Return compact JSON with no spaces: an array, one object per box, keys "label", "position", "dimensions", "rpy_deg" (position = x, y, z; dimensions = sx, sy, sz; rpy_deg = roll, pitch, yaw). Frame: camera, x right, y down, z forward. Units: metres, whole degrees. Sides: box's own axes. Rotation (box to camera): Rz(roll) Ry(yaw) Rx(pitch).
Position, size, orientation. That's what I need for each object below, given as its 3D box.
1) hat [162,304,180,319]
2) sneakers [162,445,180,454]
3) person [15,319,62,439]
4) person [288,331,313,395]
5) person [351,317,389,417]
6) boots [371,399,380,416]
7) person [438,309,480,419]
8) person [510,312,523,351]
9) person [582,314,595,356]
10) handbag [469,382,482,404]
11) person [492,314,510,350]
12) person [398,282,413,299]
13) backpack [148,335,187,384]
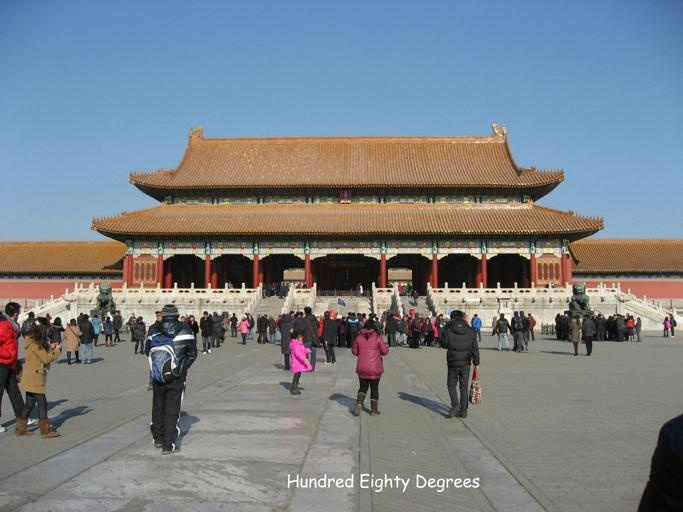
[{"label":"hat","position":[-2.979,0.967,12.900],"dimensions":[0.268,0.266,0.261],"rpy_deg":[-3,2,-23]},{"label":"sneakers","position":[-2.843,3.221,12.340],"dimensions":[0.254,0.116,0.113],"rpy_deg":[0,0,-15]},{"label":"person","position":[-5.594,2.232,13.739],"dimensions":[0.882,2.198,0.597],"rpy_deg":[-5,-8,24]},{"label":"person","position":[-0.945,2.444,17.041],"dimensions":[0.559,1.455,0.650],"rpy_deg":[5,-4,-25]},{"label":"person","position":[0.590,2.269,15.414],"dimensions":[0.727,1.959,1.373],"rpy_deg":[-2,-7,3]},{"label":"boots","position":[0.670,3.037,14.918],"dimensions":[0.178,0.309,0.304],"rpy_deg":[-1,-8,-6]},{"label":"person","position":[2.416,2.183,15.087],"dimensions":[0.736,2.174,0.522],"rpy_deg":[-1,-7,-2]},{"label":"person","position":[6.460,2.789,27.241],"dimensions":[0.367,1.466,0.888],"rpy_deg":[-3,-8,14]},{"label":"person","position":[8.672,2.800,26.000],"dimensions":[0.382,1.398,1.029],"rpy_deg":[-4,-8,18]},{"label":"handbag","position":[2.935,3.038,16.289],"dimensions":[0.187,0.481,0.456],"rpy_deg":[1,3,7]},{"label":"person","position":[6.253,2.949,28.813],"dimensions":[0.485,1.441,2.066],"rpy_deg":[-3,-8,11]},{"label":"person","position":[4.426,2.312,51.921],"dimensions":[0.933,0.992,0.920],"rpy_deg":[-1,-11,11]},{"label":"backpack","position":[-2.952,1.750,12.604],"dimensions":[0.546,0.824,0.464],"rpy_deg":[-11,-21,-1]}]
